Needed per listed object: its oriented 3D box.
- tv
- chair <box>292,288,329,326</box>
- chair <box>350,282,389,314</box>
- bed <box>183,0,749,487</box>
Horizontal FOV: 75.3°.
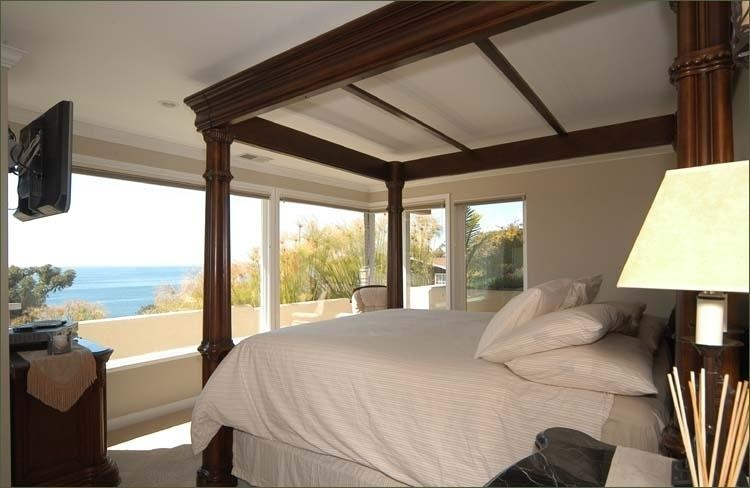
[{"bbox_3d":[-2.511,-0.642,3.687,1.032,0.714,0.101,-4,-4,40],"label":"tv"},{"bbox_3d":[-0.943,0.937,7.102,0.414,0.501,0.359,3,-7,-19],"label":"chair"},{"bbox_3d":[-0.079,0.748,6.868,0.397,0.428,0.493,-3,-2,7],"label":"chair"},{"bbox_3d":[0.600,-0.084,3.719,3.176,2.317,2.525,-6,-10,44],"label":"bed"}]
